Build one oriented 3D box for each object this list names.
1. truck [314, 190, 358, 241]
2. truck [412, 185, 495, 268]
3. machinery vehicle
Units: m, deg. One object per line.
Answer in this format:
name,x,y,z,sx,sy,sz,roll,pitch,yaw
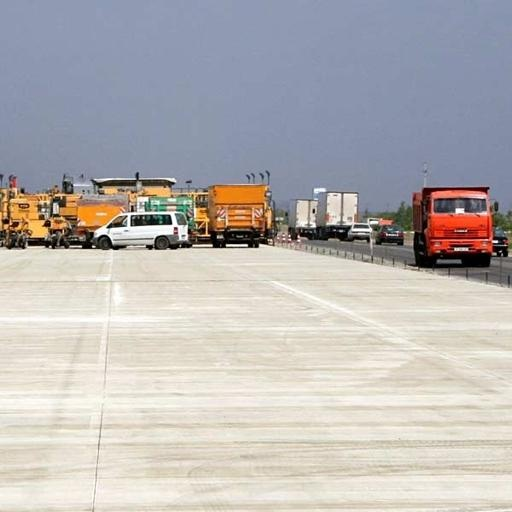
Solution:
truck,8.270,-4.118,83.470,2.979,4.482,6.634,2,6,3
truck,7.749,-1.233,34.828,2.695,3.194,6.189,0,0,3
machinery vehicle,-7.575,-2.899,56.474,16.724,4.816,25.563,0,4,-22
